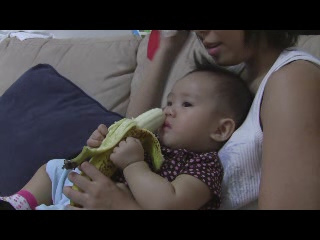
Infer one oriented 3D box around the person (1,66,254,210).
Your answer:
[{"bbox_3d":[-0.128,0.092,1.311,1.008,0.581,0.708,0,95,-21],"label":"person"}]
